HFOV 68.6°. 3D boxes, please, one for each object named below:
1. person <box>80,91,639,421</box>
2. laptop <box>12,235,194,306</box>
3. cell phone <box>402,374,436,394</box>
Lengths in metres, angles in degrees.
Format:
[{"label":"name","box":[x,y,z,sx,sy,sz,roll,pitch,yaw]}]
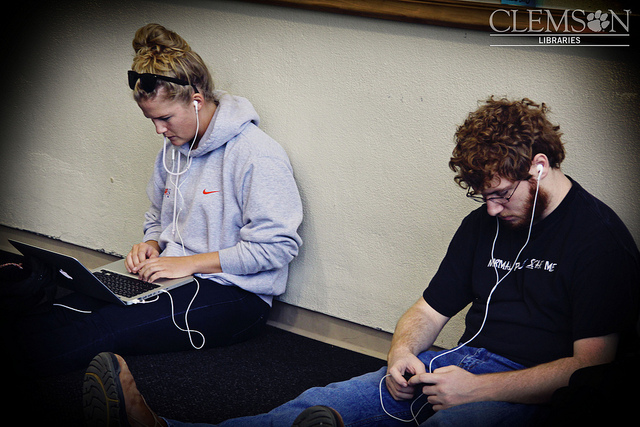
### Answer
[{"label":"person","box":[0.346,0.094,1.707,2.013,1.071,0.984,-6,10,-21]},{"label":"laptop","box":[-0.861,0.253,1.830,0.422,0.200,0.415,18,29,32]},{"label":"cell phone","box":[0.310,0.529,1.462,0.093,0.052,0.044,32,0,-43]}]
